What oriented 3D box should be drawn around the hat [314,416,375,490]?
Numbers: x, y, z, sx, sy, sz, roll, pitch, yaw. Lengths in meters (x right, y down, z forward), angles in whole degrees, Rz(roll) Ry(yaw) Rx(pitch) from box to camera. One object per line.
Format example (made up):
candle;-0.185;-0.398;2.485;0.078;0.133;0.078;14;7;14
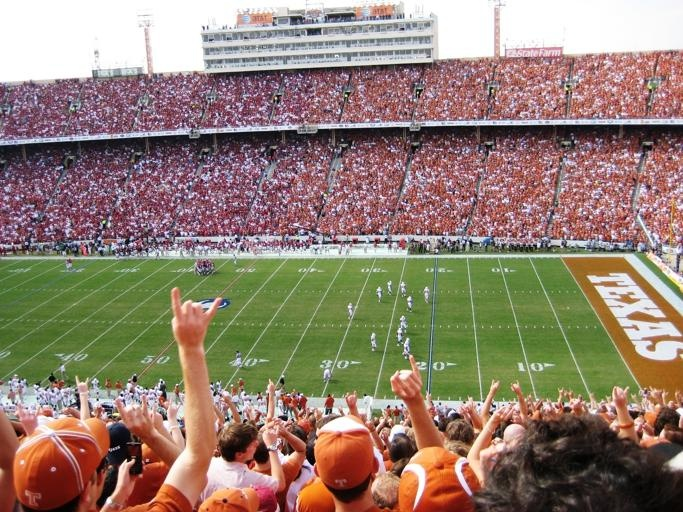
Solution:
hat;0.050;3.542;14.865;0.821;1.307;0.716;-2;-36;3
